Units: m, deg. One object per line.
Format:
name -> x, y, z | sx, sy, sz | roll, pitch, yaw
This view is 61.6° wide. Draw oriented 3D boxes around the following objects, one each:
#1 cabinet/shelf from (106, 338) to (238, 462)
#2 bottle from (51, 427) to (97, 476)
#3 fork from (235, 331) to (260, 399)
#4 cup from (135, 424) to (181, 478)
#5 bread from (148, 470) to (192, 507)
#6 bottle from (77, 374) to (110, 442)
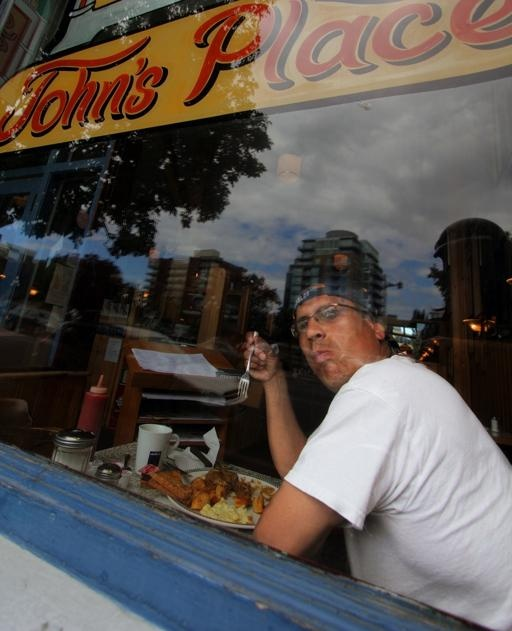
cabinet/shelf -> -0.175, 0.264, 1.224 | 0.313, 0.289, 0.188 | -1, -8, 15
bottle -> -0.298, 0.236, 0.711 | 0.076, 0.091, 0.065 | 3, -2, -5
fork -> -0.019, 0.122, 0.921 | 0.026, 0.173, 0.021 | -18, 58, -40
cup -> -0.214, 0.292, 0.951 | 0.101, 0.081, 0.056 | 7, -4, -15
bread -> -0.159, 0.313, 0.774 | 0.048, 0.013, 0.045 | 21, -4, 27
bottle -> -0.367, 0.214, 0.964 | 0.051, 0.159, 0.046 | 13, -2, -13
